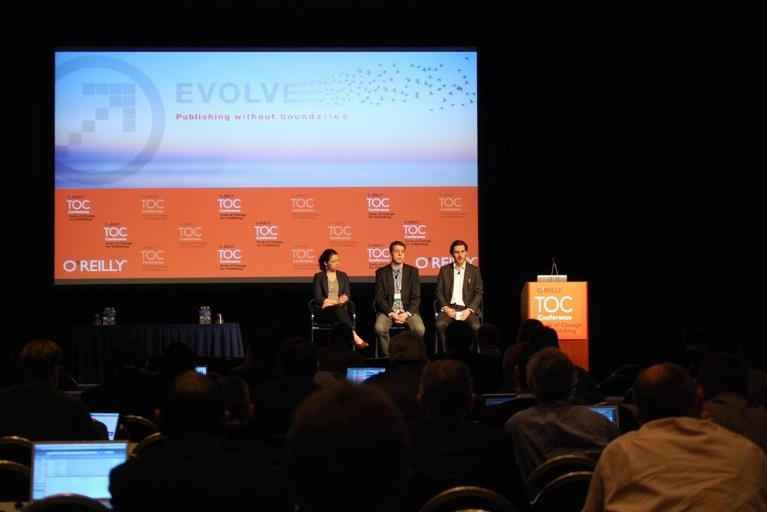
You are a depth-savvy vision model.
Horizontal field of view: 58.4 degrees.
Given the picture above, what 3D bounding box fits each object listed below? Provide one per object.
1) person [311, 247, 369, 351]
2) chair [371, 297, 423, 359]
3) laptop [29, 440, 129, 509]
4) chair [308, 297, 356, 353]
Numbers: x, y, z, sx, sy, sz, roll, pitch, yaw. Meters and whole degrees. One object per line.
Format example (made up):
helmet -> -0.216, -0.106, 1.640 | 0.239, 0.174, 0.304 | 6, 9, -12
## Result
person -> -0.524, 0.550, 8.370 | 0.516, 1.181, 1.204 | 2, -1, -26
chair -> 0.099, 0.939, 8.565 | 0.654, 1.061, 0.637 | 0, -11, -4
laptop -> -1.736, 1.205, 3.898 | 0.558, 0.350, 0.369 | 1, -5, -10
chair -> -0.654, 1.016, 8.282 | 0.517, 0.830, 0.612 | 5, -29, 2
